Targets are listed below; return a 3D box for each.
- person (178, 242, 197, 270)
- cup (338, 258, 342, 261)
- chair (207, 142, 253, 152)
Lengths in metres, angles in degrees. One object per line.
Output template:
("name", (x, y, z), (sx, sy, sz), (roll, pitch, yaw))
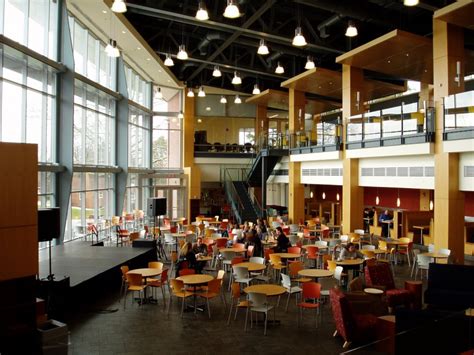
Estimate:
("person", (-1.636, 2.617, 13.677), (0.806, 1.190, 0.811), (1, -5, -2))
("cup", (3.552, 2.836, 14.165), (0.095, 0.043, 0.094), (-1, -1, 0))
("chair", (-0.598, -2.278, 31.415), (3.415, 0.755, 0.852), (-2, 10, 0))
